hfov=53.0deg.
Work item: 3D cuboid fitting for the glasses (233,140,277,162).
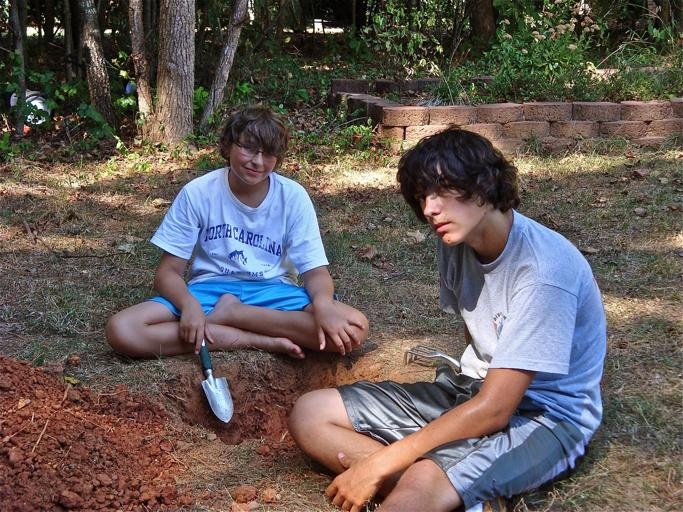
[{"bbox_3d":[-0.505,-0.605,4.009,0.235,0.104,0.053,-2,13,-8],"label":"glasses"}]

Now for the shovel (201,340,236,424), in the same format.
[{"bbox_3d":[-0.723,0.750,3.964,0.138,0.057,0.512,-9,58,-27],"label":"shovel"}]
